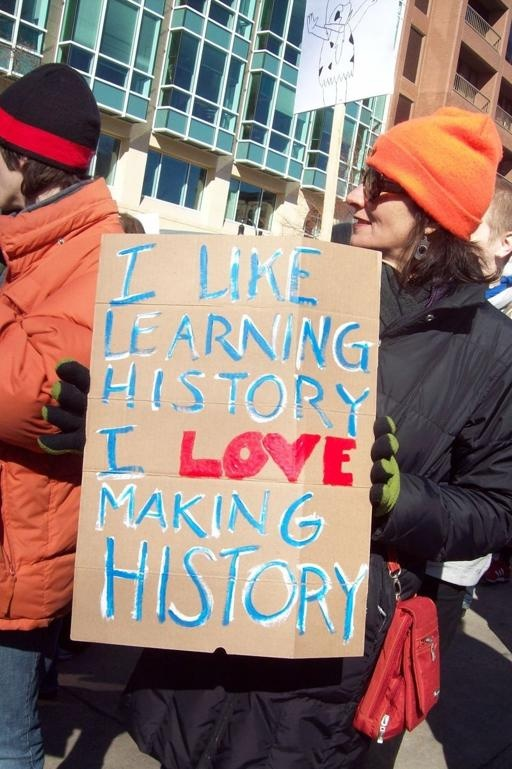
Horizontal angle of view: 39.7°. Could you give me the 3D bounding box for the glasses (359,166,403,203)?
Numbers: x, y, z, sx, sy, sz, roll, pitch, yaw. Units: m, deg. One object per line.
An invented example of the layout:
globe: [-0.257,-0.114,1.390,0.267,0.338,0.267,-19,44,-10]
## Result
glasses: [0.285,-0.457,1.645,0.089,0.036,0.084,6,15,-17]

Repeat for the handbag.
handbag: [0.316,0.598,1.555,0.144,0.252,0.280,6,2,27]

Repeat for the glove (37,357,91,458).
glove: [-0.400,0.058,1.502,0.091,0.232,0.135,10,13,-13]

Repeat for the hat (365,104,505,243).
hat: [0.397,-0.504,1.657,0.317,0.291,0.304,26,29,17]
